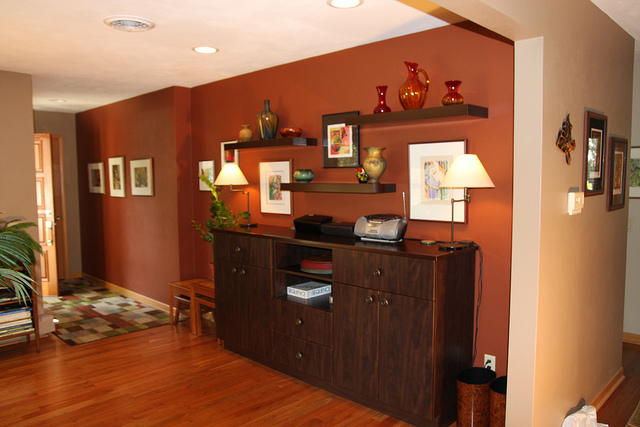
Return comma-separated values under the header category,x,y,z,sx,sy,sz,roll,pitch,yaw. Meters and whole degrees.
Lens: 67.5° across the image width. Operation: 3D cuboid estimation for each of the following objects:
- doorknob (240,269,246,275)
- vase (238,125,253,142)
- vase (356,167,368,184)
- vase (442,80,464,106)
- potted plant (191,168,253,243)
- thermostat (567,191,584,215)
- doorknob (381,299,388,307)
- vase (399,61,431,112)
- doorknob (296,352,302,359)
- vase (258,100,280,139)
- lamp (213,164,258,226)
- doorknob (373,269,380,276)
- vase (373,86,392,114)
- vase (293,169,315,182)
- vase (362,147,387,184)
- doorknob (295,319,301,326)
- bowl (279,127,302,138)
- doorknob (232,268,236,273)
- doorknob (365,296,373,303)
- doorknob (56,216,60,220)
category,x,y,z,sx,sy,sz,roll,pitch,yaw
doorknob,-0.800,0.614,5.006,0.043,0.030,0.047,2,9,12
vase,-0.837,-0.922,5.521,0.189,0.211,0.190,2,10,13
vase,0.407,-0.361,4.581,0.145,0.151,0.139,-4,9,-24
vase,1.150,-1.029,4.135,0.212,0.205,0.196,1,5,20
potted plant,-1.112,-0.102,5.793,0.640,0.749,0.425,-1,25,21
thermostat,2.051,-0.089,3.846,0.198,0.173,0.063,-5,4,-43
doorknob,0.550,0.756,4.045,0.050,0.047,0.050,3,2,38
vase,0.850,-1.123,4.284,0.257,0.430,0.450,2,11,13
doorknob,-0.198,1.376,4.617,0.069,0.068,0.023,6,13,33
vase,-0.592,-1.047,5.354,0.294,0.444,0.260,-6,15,-19
lamp,-0.979,-0.206,5.626,0.559,0.723,0.445,1,1,-20
doorknob,0.487,0.508,4.091,0.059,0.057,0.019,8,14,39
vase,0.589,-1.057,4.444,0.166,0.269,0.391,1,11,9
vase,-0.169,-0.399,5.039,0.151,0.086,0.147,3,6,16
vase,0.529,-0.448,4.537,0.247,0.305,0.231,2,1,8
doorknob,-0.204,1.049,4.598,0.019,0.068,0.072,-9,14,-37
bowl,-0.291,-0.856,5.129,0.168,0.065,0.165,0,2,0
doorknob,-0.908,0.608,5.102,0.020,0.053,0.061,-10,14,-39
doorknob,0.422,0.741,4.125,0.052,0.049,0.017,2,-9,38
doorknob,-4.296,0.077,7.877,0.043,0.046,0.048,-2,11,-28
